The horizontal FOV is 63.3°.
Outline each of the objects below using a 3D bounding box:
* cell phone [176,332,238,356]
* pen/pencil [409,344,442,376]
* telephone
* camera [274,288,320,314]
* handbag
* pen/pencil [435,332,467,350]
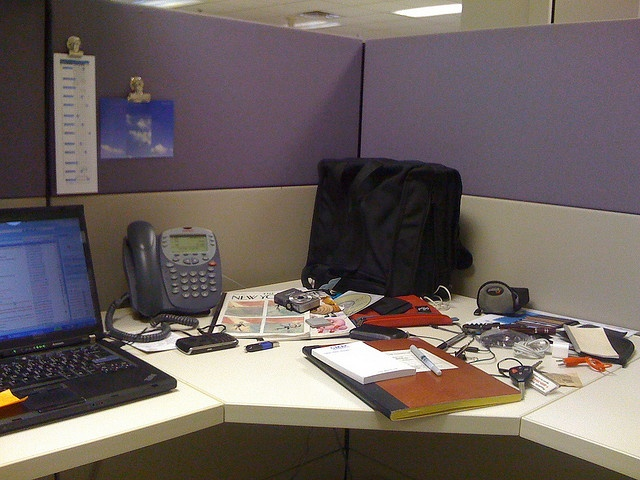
[{"bbox_3d":[-0.263,0.234,1.217,0.093,0.018,0.054,-4,7,-25],"label":"cell phone"},{"bbox_3d":[0.219,0.251,1.116,0.018,0.021,0.123,-27,23,-6],"label":"pen/pencil"},{"bbox_3d":[-0.425,0.080,1.372,0.311,0.195,0.369,24,23,31],"label":"telephone"},{"bbox_3d":[-0.064,0.159,1.428,0.074,0.023,0.072,17,24,40],"label":"camera"},{"bbox_3d":[0.231,-0.083,1.704,0.476,0.413,0.463,10,15,43],"label":"handbag"},{"bbox_3d":[0.321,0.246,1.272,0.011,0.011,0.097,-9,4,42],"label":"pen/pencil"}]
